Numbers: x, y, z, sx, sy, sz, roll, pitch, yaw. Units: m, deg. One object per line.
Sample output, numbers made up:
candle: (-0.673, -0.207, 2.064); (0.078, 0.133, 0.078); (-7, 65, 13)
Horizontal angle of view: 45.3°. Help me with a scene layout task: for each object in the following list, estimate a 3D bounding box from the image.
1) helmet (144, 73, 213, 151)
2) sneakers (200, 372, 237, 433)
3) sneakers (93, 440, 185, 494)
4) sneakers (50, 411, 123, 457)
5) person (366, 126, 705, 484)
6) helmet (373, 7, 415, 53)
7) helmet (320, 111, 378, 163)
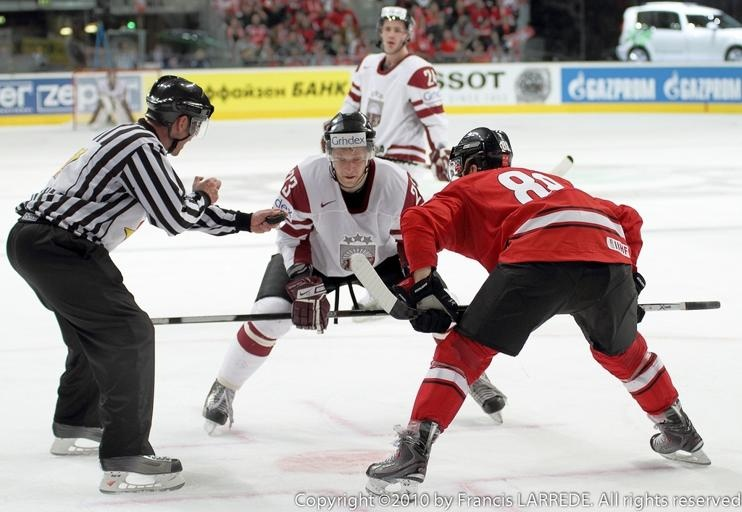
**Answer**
helmet: (-0.858, -0.631, 3.918); (0.320, 0.274, 0.263); (15, 9, -24)
sneakers: (-0.722, 0.694, 4.201); (0.115, 0.256, 0.097); (-19, -32, 31)
sneakers: (-0.956, 0.900, 3.777); (0.472, 0.189, 0.130); (0, -1, -6)
sneakers: (-1.318, 0.811, 4.041); (0.096, 0.183, 0.298); (-10, -15, 34)
person: (0.659, 0.236, 3.751); (1.397, 1.295, 0.833); (-2, 17, -4)
helmet: (0.169, -1.614, 6.046); (0.245, 0.239, 0.275); (2, -35, 5)
helmet: (-0.086, -0.541, 4.214); (0.320, 0.270, 0.332); (-1, 10, 5)
